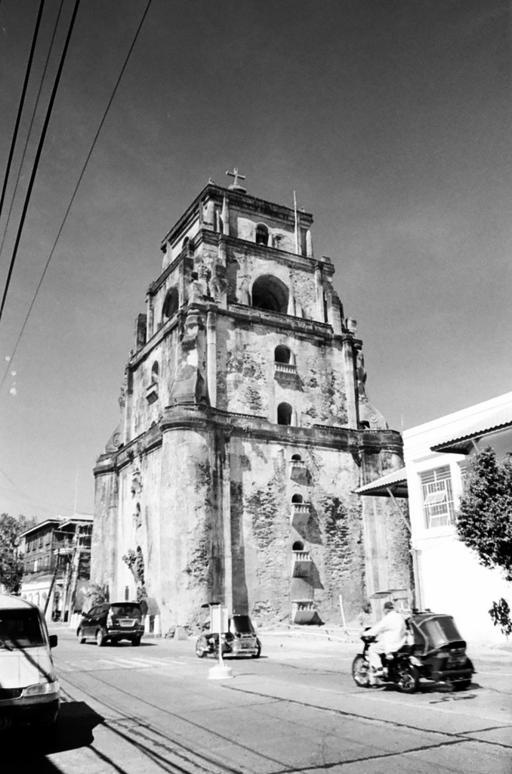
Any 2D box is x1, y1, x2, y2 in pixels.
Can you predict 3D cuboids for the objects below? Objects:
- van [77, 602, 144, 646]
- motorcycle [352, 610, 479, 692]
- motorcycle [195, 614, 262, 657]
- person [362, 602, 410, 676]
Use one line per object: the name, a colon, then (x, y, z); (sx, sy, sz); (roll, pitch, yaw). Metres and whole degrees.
van: (-6.578, 10.497, 25.232); (1.934, 1.701, 4.102); (16, -28, -27)
motorcycle: (2.884, 5.100, 10.598); (1.205, 1.478, 2.598); (18, -31, -21)
motorcycle: (-1.090, 8.448, 18.763); (1.644, 1.404, 2.573); (6, -23, -17)
person: (2.324, 4.618, 10.006); (0.621, 0.866, 1.222); (0, -12, -29)
